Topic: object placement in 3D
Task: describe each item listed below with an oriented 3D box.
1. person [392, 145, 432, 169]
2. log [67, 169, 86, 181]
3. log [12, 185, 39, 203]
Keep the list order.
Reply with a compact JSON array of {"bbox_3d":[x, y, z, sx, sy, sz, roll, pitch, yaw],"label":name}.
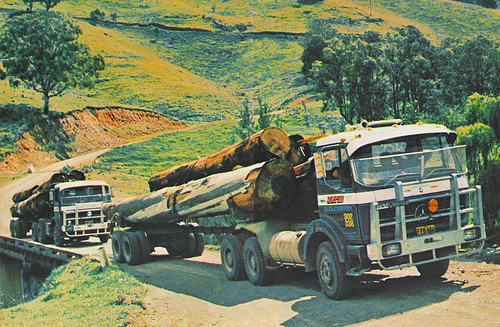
[{"bbox_3d":[12.156,-0.575,54.122,2.618,1.629,0.669,-1,13,5],"label":"person"},{"bbox_3d":[-17.059,1.109,70.360,1.211,0.953,0.453,9,45,-2],"label":"log"},{"bbox_3d":[-23.941,3.315,75.943,2.339,0.641,2.426,-12,31,50],"label":"log"}]
